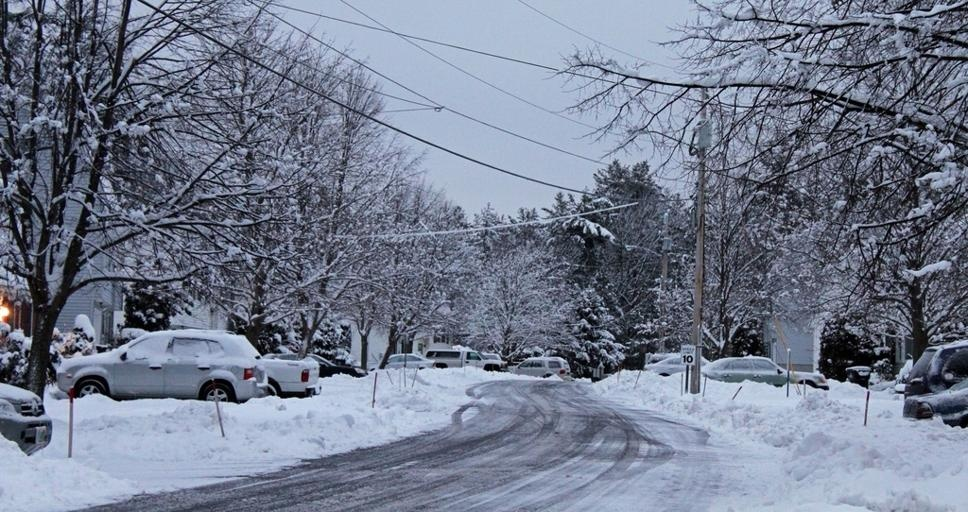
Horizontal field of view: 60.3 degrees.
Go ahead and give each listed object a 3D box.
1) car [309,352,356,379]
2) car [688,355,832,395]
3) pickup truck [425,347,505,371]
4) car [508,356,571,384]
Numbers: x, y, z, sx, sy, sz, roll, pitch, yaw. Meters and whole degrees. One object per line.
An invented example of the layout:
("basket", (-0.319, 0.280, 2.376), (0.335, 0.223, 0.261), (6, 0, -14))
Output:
("car", (-8.284, 5.950, 45.667), (2.803, 0.965, 1.287), (2, -2, -12))
("car", (13.493, 5.517, 40.685), (5.671, 1.425, 2.100), (3, -8, -2))
("pickup truck", (-1.402, 7.427, 60.847), (4.220, 1.704, 2.394), (-1, -5, 2))
("car", (4.206, 7.878, 59.390), (3.485, 1.571, 1.775), (2, -7, 15))
